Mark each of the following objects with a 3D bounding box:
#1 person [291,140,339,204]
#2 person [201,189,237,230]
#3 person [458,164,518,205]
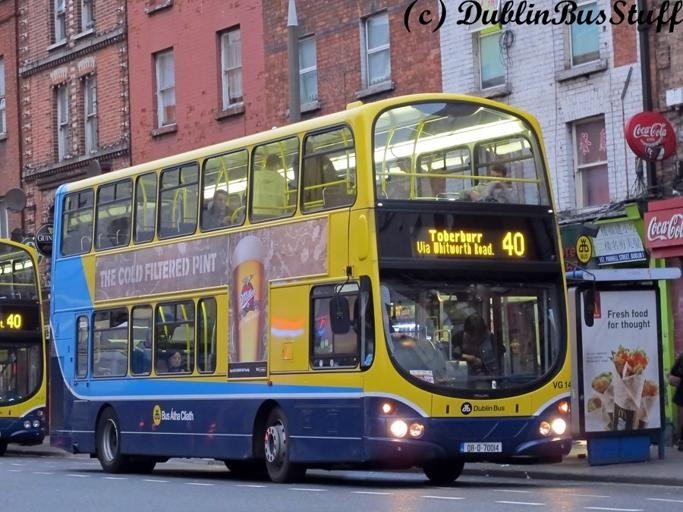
[{"bbox_3d":[-0.384,-1.262,15.534,0.800,1.071,0.518,-6,-9,44],"label":"person"},{"bbox_3d":[-2.106,-0.773,17.456,0.464,0.827,0.710,5,-10,-32],"label":"person"},{"bbox_3d":[2.204,-1.092,15.245,0.659,0.611,0.558,2,-7,13],"label":"person"}]
